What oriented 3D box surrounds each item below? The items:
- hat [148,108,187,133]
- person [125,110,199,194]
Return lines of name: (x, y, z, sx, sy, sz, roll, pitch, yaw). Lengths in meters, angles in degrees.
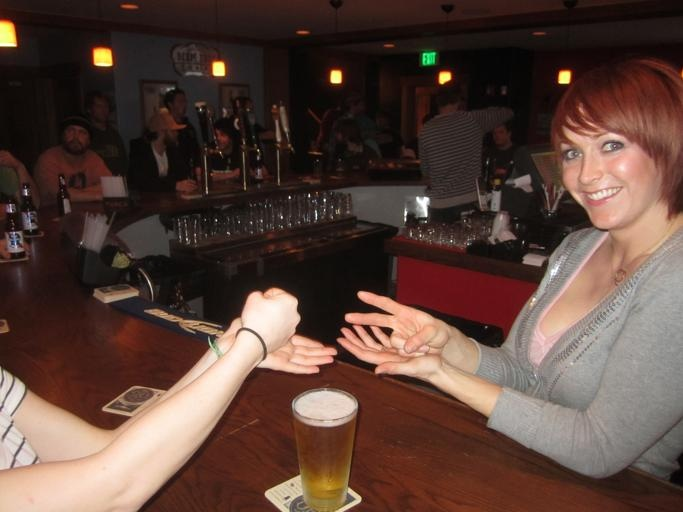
hat: (-1.604, -1.275, 5.030, 0.397, 0.204, 0.265, -12, 24, -20)
person: (-1.672, -0.988, 5.053, 0.836, 0.830, 0.578, 15, 16, 26)
